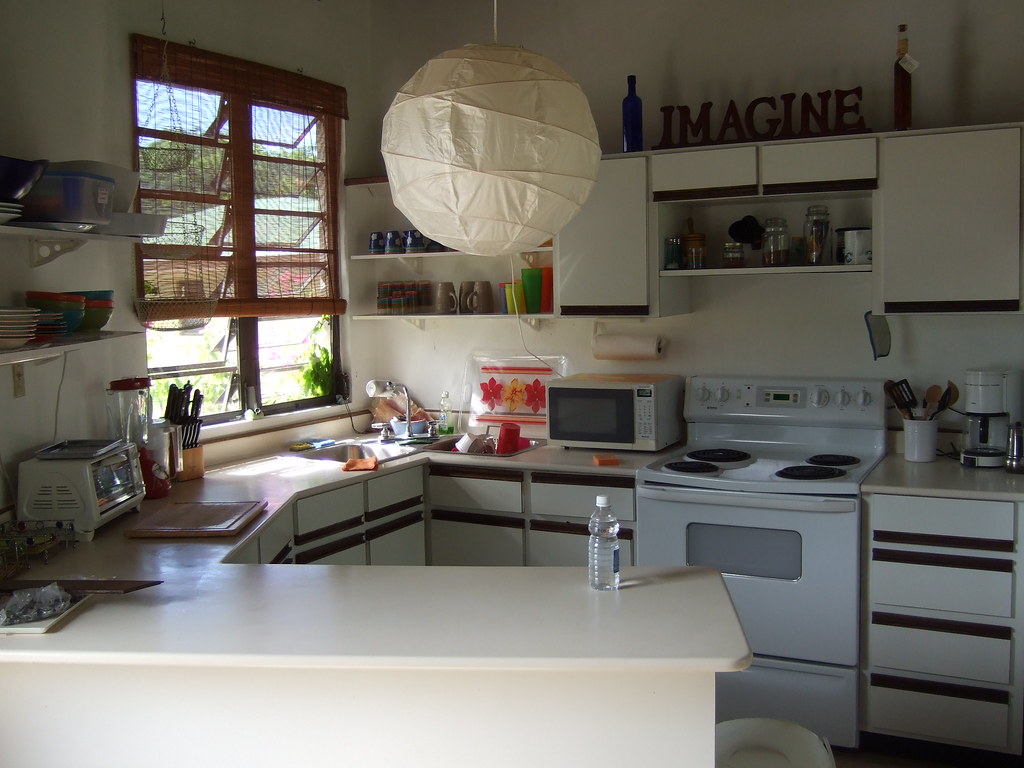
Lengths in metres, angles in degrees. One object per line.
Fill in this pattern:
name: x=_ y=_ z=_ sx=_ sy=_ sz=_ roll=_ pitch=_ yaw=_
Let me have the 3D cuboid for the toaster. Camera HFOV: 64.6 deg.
toaster: x=-1.615 y=0.390 z=3.088 sx=0.257 sy=0.306 sz=0.425 roll=-1 pitch=5 yaw=0

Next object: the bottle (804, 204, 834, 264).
bottle: x=1.438 y=-0.696 z=3.787 sx=0.126 sy=0.269 sz=0.270 roll=2 pitch=9 yaw=24

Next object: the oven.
oven: x=0.548 y=0.154 z=4.121 sx=0.722 sy=0.370 sz=0.337 roll=-1 pitch=8 yaw=2

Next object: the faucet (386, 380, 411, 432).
faucet: x=-0.637 y=0.113 z=4.675 sx=0.129 sy=0.247 sz=0.410 roll=-2 pitch=9 yaw=-7

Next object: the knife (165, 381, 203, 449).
knife: x=-1.484 y=0.136 z=3.675 sx=0.066 sy=0.301 sz=0.165 roll=-1 pitch=1 yaw=35

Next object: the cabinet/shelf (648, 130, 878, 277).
cabinet/shelf: x=1.189 y=-0.829 z=3.877 sx=1.023 sy=0.612 sz=0.369 roll=2 pitch=8 yaw=21

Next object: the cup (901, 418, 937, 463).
cup: x=1.851 y=0.253 z=3.668 sx=0.169 sy=0.207 sz=0.164 roll=2 pitch=2 yaw=0

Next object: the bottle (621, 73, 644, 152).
bottle: x=0.615 y=-1.365 z=4.076 sx=0.102 sy=0.418 sz=0.314 roll=0 pitch=8 yaw=9

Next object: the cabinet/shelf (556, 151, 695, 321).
cabinet/shelf: x=0.565 y=-0.698 z=4.300 sx=0.708 sy=1.120 sz=0.688 roll=0 pitch=0 yaw=25

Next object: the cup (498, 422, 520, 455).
cup: x=-0.015 y=0.278 z=4.249 sx=0.120 sy=0.135 sz=0.347 roll=-1 pitch=9 yaw=1

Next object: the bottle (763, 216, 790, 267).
bottle: x=1.247 y=-0.655 z=3.810 sx=0.109 sy=0.198 sz=0.114 roll=-5 pitch=12 yaw=1

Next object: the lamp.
lamp: x=0.027 y=-0.629 z=2.276 sx=0.502 sy=0.765 sz=0.538 roll=3 pitch=3 yaw=19

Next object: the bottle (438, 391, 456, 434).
bottle: x=-0.378 y=0.158 z=4.705 sx=0.101 sy=0.215 sz=0.240 roll=-2 pitch=8 yaw=-5
